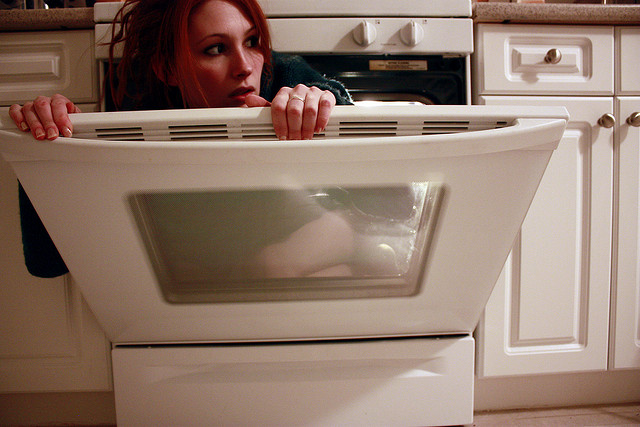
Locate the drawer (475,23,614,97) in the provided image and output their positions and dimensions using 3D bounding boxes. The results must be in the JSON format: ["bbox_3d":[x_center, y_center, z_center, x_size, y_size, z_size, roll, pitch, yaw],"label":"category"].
[{"bbox_3d":[0.661,-0.452,2.008,0.441,0.200,0.286,-1,0,-7],"label":"drawer"}]

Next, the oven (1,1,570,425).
[{"bbox_3d":[-0.039,0.030,2.165,1.355,1.554,1.266,-1,15,0],"label":"oven"}]
